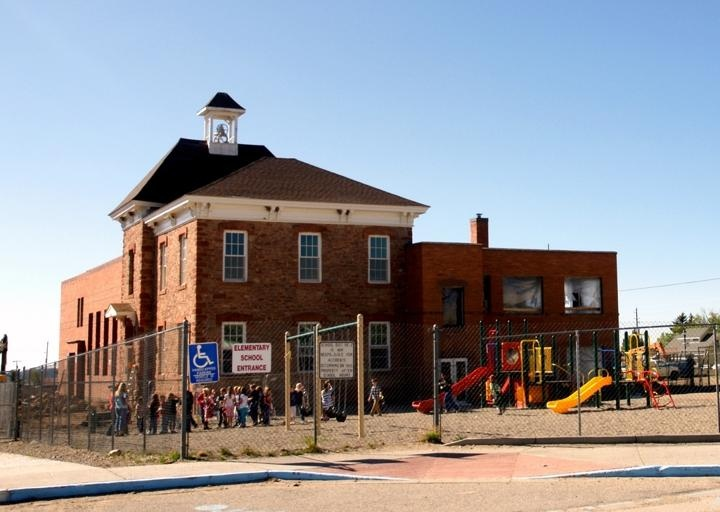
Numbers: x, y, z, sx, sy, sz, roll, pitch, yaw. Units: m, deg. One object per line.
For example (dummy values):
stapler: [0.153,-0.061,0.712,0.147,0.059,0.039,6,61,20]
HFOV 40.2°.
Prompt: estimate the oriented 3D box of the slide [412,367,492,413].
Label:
slide: [3.436,5.661,40.235,2.504,2.065,3.518,-4,-6,20]
